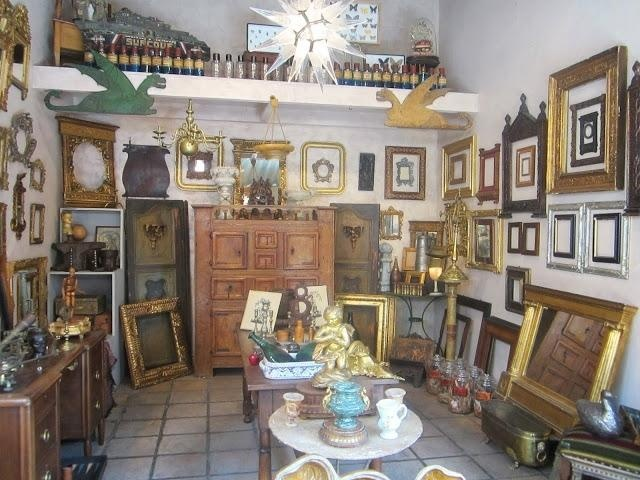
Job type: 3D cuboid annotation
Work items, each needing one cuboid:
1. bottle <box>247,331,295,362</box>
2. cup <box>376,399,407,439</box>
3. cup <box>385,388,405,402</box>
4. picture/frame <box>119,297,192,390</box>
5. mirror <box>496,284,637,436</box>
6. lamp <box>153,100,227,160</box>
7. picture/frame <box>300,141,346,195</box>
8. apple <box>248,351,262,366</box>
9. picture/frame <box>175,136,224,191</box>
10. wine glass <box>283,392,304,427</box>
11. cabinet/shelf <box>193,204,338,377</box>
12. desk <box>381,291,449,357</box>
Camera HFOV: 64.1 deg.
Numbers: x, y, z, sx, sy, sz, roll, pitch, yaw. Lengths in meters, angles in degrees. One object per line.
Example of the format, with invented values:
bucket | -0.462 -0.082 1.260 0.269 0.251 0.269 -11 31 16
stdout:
bottle | -0.425 0.927 4.435 0.368 0.108 0.210 28 11 31
cup | 0.488 1.238 3.574 0.254 0.286 0.175 0 -2 -18
cup | 0.558 1.167 3.749 0.128 0.113 0.137 2 -3 0
picture/frame | -2.251 1.426 6.879 0.122 1.292 0.988 -15 -5 37
mirror | 2.397 1.176 4.891 0.288 1.590 1.252 19 -1 -22
lamp | -1.806 -1.528 6.938 0.732 0.955 0.879 3 -1 -24
picture/frame | 0.012 -1.104 7.771 0.755 0.920 0.078 0 0 -10
apple | -0.599 1.105 4.734 0.086 0.113 0.092 1 3 -27
picture/frame | -1.698 -1.042 7.106 0.726 0.930 0.068 0 -2 -9
wine glass | -0.192 1.234 3.777 0.143 0.190 0.223 0 7 -1
cabinet/shelf | -0.744 0.615 6.326 2.115 2.603 0.870 0 -1 -8
desk | 1.324 1.237 7.410 0.769 1.029 0.838 1 -4 -5
